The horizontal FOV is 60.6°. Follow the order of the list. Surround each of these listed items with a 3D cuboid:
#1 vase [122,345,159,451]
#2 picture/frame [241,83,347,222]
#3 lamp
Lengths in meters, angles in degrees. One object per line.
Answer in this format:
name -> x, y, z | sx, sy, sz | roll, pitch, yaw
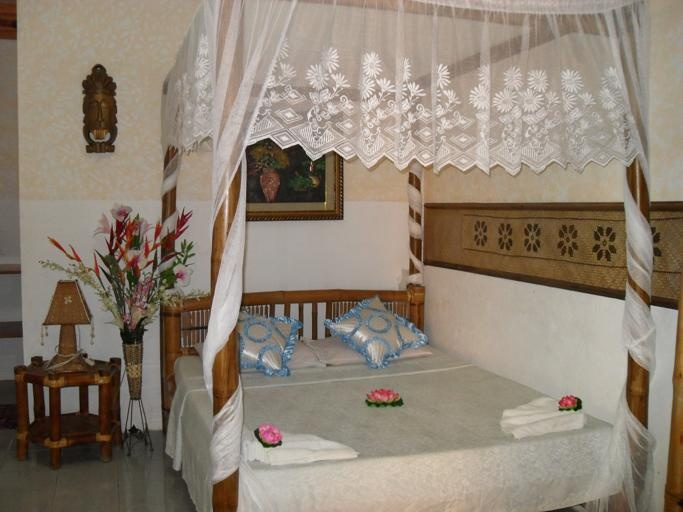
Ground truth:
vase -> -1.653, 1.077, 4.732 | 0.223, 0.861, 0.504 | -2, 7, -22
picture/frame -> -0.349, -0.658, 3.893 | 0.675, 0.739, 0.051 | 0, 7, -12
lamp -> -2.060, 0.508, 4.413 | 0.326, 0.662, 0.364 | -3, 7, -27
